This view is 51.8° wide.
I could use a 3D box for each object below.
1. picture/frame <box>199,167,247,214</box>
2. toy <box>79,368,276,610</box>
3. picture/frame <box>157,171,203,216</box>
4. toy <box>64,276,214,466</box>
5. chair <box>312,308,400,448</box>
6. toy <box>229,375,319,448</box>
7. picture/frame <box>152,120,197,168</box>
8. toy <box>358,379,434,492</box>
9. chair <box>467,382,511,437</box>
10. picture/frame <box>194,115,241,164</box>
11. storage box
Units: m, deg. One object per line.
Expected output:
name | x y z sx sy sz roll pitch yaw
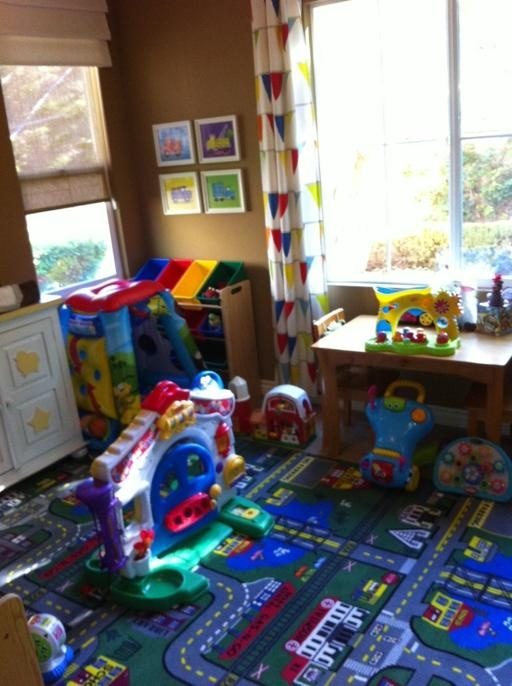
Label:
picture/frame | -0.206 -0.972 3.379 0.295 0.243 0.019 -14 18 -33
toy | -0.315 0.522 2.095 0.515 0.662 0.861 2 13 30
picture/frame | -0.512 -1.017 3.591 0.293 0.242 0.019 -20 20 -39
toy | -0.815 0.072 3.273 0.791 0.843 0.797 2 20 32
chair | 0.597 0.244 2.690 0.470 0.443 0.326 -3 1 26
toy | 0.114 0.401 2.994 0.358 0.248 0.135 8 23 29
picture/frame | -0.540 -1.319 3.500 0.281 0.228 0.014 6 17 29
toy | 0.642 0.422 2.416 0.309 0.454 0.260 1 15 34
chair | 1.006 0.274 2.348 0.225 0.147 0.307 5 36 21
picture/frame | -0.225 -1.276 3.285 0.318 0.267 0.032 13 28 34
storage box | -0.402 -0.162 3.332 0.668 0.590 0.279 7 14 32
